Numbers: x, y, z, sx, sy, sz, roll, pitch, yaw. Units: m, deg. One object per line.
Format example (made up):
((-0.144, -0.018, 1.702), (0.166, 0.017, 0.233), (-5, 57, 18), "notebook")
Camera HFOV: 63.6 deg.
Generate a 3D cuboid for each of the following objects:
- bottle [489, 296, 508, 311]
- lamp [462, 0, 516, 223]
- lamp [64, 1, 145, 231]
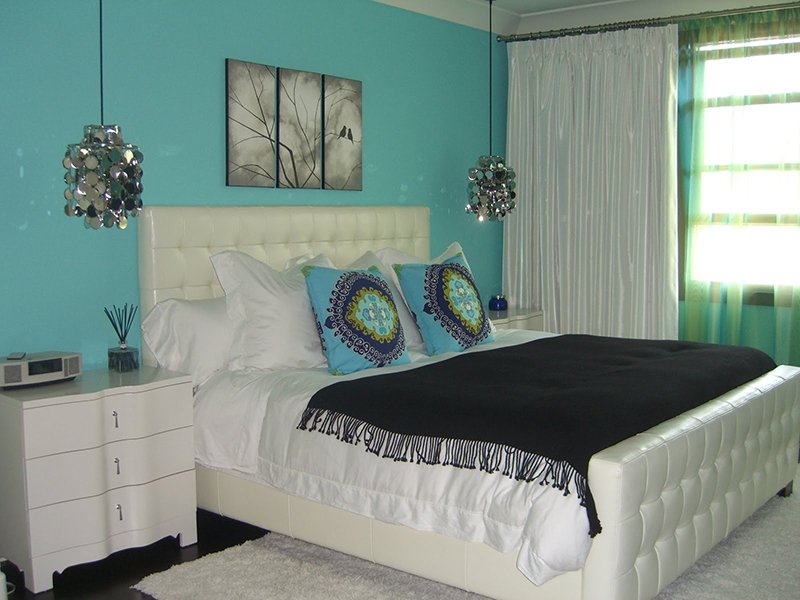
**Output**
((0.835, 0.024, 5.484), (0.118, 0.105, 0.118), (-5, 8, -37), "bottle")
((0.739, -1.511, 5.155), (0.409, 1.812, 1.149), (2, 10, 10), "lamp")
((-1.379, -0.747, 2.940), (0.311, 0.819, 0.613), (-5, 11, -28), "lamp")
